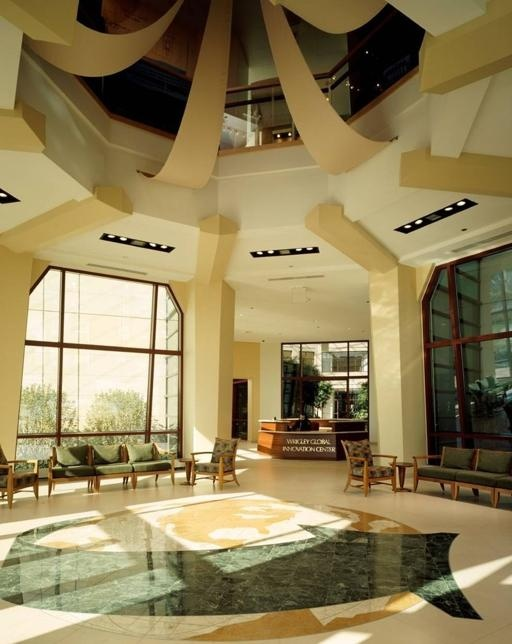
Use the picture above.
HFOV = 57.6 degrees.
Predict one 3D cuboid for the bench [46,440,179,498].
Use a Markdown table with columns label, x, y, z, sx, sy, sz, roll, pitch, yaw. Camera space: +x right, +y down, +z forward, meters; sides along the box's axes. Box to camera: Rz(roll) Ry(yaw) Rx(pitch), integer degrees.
| label | x | y | z | sx | sy | sz | roll | pitch | yaw |
| --- | --- | --- | --- | --- | --- | --- | --- | --- | --- |
| bench | -2.680 | 2.671 | 8.598 | 2.206 | 0.778 | 0.862 | 8 | -14 | -36 |

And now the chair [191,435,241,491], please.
| label | x | y | z | sx | sy | sz | roll | pitch | yaw |
| --- | --- | --- | --- | --- | --- | --- | --- | --- | --- |
| chair | -0.842 | 2.824 | 9.499 | 0.948 | 0.859 | 2.067 | 1 | -12 | -8 |
